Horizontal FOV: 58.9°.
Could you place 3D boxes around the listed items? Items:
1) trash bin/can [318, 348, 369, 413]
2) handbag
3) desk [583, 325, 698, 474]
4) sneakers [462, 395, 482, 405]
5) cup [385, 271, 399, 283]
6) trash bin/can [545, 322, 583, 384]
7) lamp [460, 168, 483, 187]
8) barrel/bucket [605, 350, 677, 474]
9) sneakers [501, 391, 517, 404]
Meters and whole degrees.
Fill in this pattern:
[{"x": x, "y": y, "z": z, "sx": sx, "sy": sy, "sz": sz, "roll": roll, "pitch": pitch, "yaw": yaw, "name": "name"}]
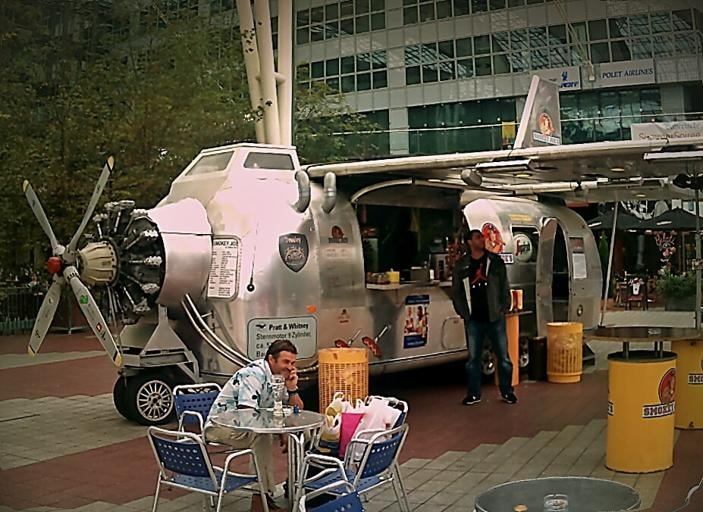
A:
[{"x": -0.061, "y": 1.785, "z": 9.141, "sx": 0.789, "sy": 0.903, "sz": 0.815, "roll": -2, "pitch": -3, "yaw": 28, "name": "trash bin/can"}, {"x": 0.103, "y": 1.652, "z": 6.118, "sx": 0.565, "sy": 0.399, "sz": 0.730, "roll": -5, "pitch": 9, "yaw": 32, "name": "handbag"}, {"x": 3.591, "y": 1.713, "z": 7.945, "sx": 1.448, "sy": 1.674, "sz": 1.490, "roll": 2, "pitch": -4, "yaw": -34, "name": "desk"}, {"x": 2.006, "y": 2.421, "z": 10.505, "sx": 0.294, "sy": 0.115, "sz": 0.125, "roll": 4, "pitch": -5, "yaw": -33, "name": "sneakers"}, {"x": 0.684, "y": 0.350, "z": 10.595, "sx": 0.202, "sy": 0.205, "sz": 0.202, "roll": -1, "pitch": 3, "yaw": 0, "name": "cup"}, {"x": 4.153, "y": 1.866, "z": 12.182, "sx": 0.650, "sy": 1.098, "sz": 0.705, "roll": -1, "pitch": 1, "yaw": 17, "name": "trash bin/can"}, {"x": 1.936, "y": -1.208, "z": 10.172, "sx": 0.257, "sy": 0.343, "sz": 0.509, "roll": 8, "pitch": -7, "yaw": 28, "name": "lamp"}, {"x": 3.342, "y": 1.828, "z": 7.228, "sx": 0.734, "sy": 1.286, "sz": 0.343, "roll": -1, "pitch": 1, "yaw": 18, "name": "barrel/bucket"}, {"x": 2.682, "y": 2.366, "z": 10.577, "sx": 0.262, "sy": 0.187, "sz": 0.274, "roll": -1, "pitch": 1, "yaw": 14, "name": "sneakers"}]
